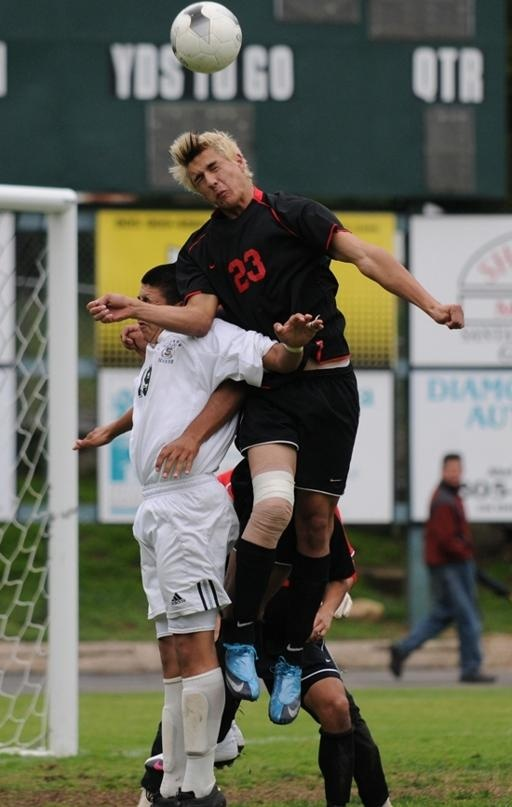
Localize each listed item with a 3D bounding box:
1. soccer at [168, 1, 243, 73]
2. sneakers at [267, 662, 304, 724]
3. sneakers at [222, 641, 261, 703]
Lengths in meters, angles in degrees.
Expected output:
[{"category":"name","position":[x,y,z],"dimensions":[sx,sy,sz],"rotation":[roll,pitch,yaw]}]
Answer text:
[{"category":"soccer","position":[-0.159,-1.313,5.303],"dimensions":[0.250,0.291,0.236],"rotation":[-2,-3,0]},{"category":"sneakers","position":[0.109,1.001,5.093],"dimensions":[0.077,0.111,0.239],"rotation":[4,30,6]},{"category":"sneakers","position":[-0.050,0.890,4.907],"dimensions":[0.082,0.097,0.228],"rotation":[-1,27,-15]}]
